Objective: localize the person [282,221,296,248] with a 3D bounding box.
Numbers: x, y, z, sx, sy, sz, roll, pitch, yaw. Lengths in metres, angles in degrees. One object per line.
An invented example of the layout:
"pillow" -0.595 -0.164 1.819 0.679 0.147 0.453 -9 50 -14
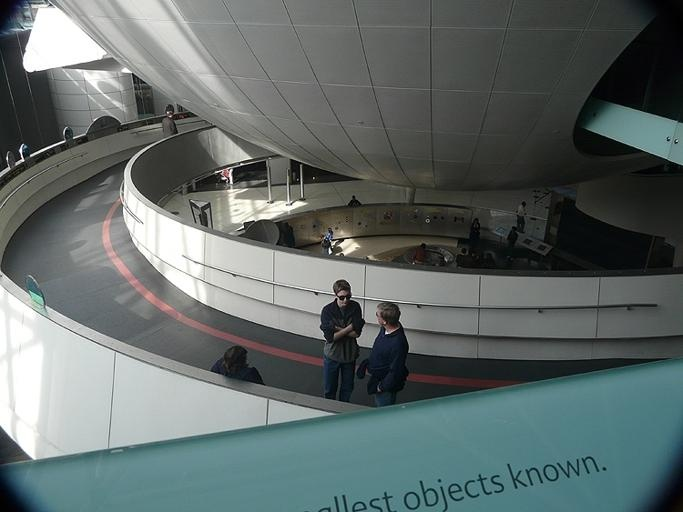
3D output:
"person" -2.388 -0.916 21.399 0.335 1.076 1.103 3 -16 9

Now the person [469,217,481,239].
"person" 6.297 -1.267 22.042 0.517 0.909 0.663 1 -16 15

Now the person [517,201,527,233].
"person" 8.148 -1.804 21.274 0.407 1.558 0.926 -1 -17 21

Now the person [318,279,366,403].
"person" 0.026 1.815 8.953 0.867 2.645 0.684 1 14 -1

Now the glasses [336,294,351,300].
"glasses" 0.040 0.756 8.452 0.242 0.120 0.196 9 -16 -9

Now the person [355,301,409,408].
"person" 0.745 1.847 8.646 0.858 0.931 2.505 -6 -43 -7

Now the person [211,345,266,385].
"person" -1.598 1.644 7.183 0.694 0.511 1.367 10 -17 -14

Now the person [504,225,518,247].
"person" 7.716 -0.899 21.066 0.491 1.058 0.555 -2 -17 23
